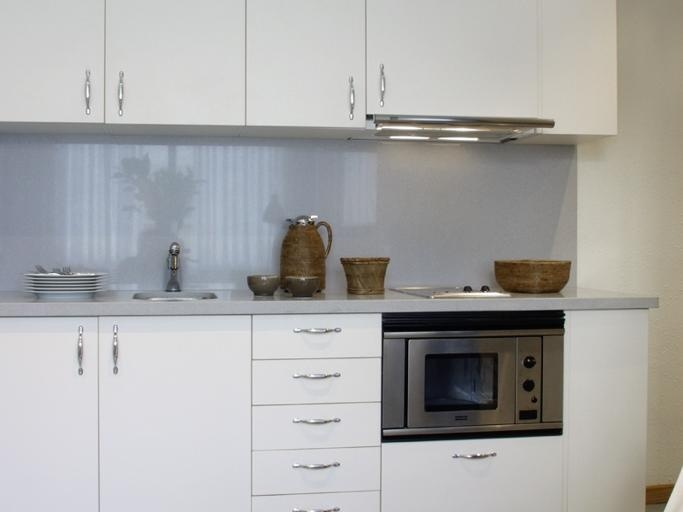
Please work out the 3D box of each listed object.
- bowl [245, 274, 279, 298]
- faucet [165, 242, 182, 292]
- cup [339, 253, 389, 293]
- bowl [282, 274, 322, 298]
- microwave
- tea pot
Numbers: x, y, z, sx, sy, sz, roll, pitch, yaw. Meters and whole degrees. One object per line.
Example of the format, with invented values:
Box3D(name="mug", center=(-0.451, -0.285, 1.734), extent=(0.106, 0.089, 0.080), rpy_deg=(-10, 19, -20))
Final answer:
Box3D(name="bowl", center=(-0.371, 0.139, 3.776), extent=(0.108, 0.072, 0.108), rpy_deg=(-1, 2, 0))
Box3D(name="faucet", center=(-0.849, 0.055, 4.009), extent=(0.073, 0.240, 0.166), rpy_deg=(-1, 10, -9))
Box3D(name="cup", center=(0.116, 0.091, 3.909), extent=(0.262, 0.181, 0.263), rpy_deg=(-1, 2, 0))
Box3D(name="bowl", center=(-0.188, 0.142, 3.778), extent=(0.152, 0.118, 0.207), rpy_deg=(0, 10, -4))
Box3D(name="microwave", center=(0.649, 0.670, 3.839), extent=(0.849, 0.515, 0.538), rpy_deg=(-5, -28, 17))
Box3D(name="tea pot", center=(-0.178, -0.010, 4.029), extent=(0.268, 0.329, 0.226), rpy_deg=(-1, 4, -22))
